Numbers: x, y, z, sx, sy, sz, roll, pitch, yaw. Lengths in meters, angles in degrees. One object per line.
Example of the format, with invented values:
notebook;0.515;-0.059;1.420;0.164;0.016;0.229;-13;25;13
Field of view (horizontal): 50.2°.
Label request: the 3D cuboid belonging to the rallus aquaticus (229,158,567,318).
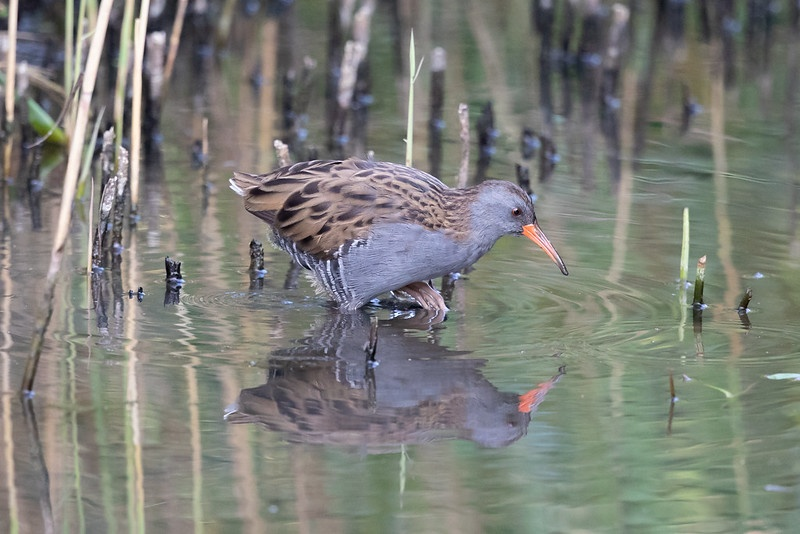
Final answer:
rallus aquaticus;-0.145;-0.331;6.151;2.562;0.905;0.907;17;34;7
